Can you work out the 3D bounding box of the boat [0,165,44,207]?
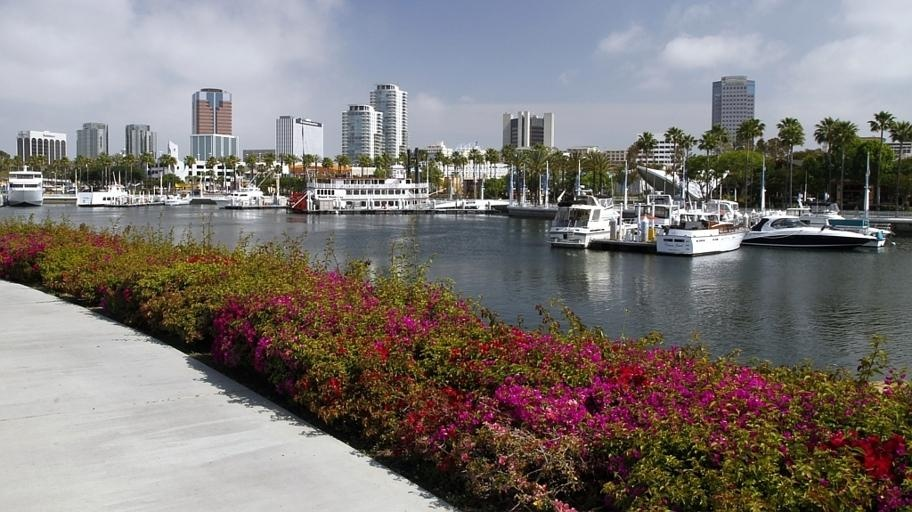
[{"bbox_3d":[-79.181,-12.495,145.040,5.710,7.123,19.646,-3,8,-35],"label":"boat"}]
